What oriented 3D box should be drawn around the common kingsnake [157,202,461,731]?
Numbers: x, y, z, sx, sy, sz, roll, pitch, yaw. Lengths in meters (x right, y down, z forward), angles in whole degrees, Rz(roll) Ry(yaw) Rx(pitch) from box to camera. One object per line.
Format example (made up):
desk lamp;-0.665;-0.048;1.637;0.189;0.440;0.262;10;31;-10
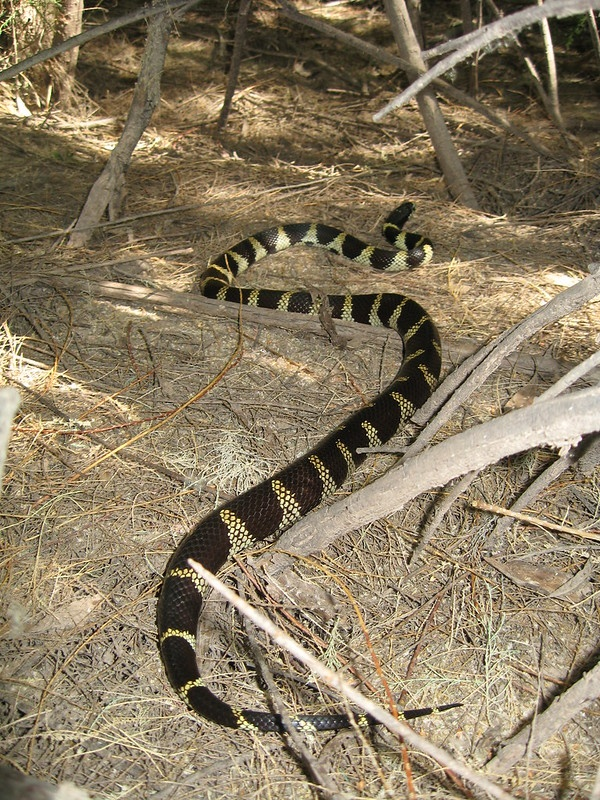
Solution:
common kingsnake;0.037;-0.181;5.631;1.975;2.076;5.205;0;18;8
